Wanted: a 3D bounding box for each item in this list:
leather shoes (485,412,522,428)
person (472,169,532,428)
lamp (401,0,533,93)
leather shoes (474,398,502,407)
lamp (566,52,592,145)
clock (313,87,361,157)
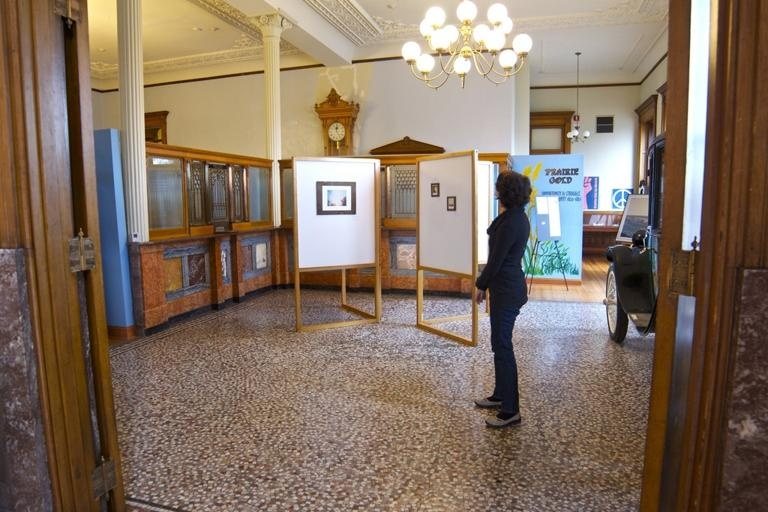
[{"bbox_3d":[0.851,1.165,3.848,0.221,0.066,0.094,2,0,-21],"label":"leather shoes"},{"bbox_3d":[0.835,0.301,3.850,0.346,1.776,0.411,2,9,15],"label":"person"},{"bbox_3d":[1.254,-3.290,8.334,1.553,1.084,1.667,7,21,21],"label":"lamp"},{"bbox_3d":[0.787,1.128,4.100,0.203,0.058,0.075,3,2,-2],"label":"leather shoes"},{"bbox_3d":[4.485,-3.481,12.385,0.538,1.730,1.648,3,10,20],"label":"lamp"},{"bbox_3d":[-0.953,-2.670,10.739,0.819,1.277,0.358,2,10,16],"label":"clock"}]
